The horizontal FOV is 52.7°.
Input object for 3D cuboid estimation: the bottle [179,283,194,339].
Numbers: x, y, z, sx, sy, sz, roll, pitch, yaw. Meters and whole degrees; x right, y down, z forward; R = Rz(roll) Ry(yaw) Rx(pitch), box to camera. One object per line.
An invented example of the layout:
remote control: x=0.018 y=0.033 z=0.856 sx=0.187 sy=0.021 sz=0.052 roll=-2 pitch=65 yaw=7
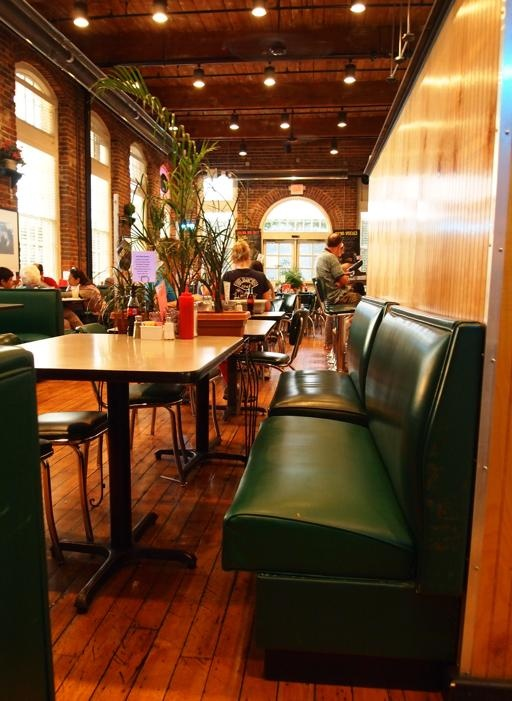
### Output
bottle: x=-0.307 y=-0.168 z=2.297 sx=0.071 sy=0.231 sz=0.072 roll=1 pitch=7 yaw=0

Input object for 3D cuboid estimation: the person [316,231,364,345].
person: x=0.928 y=-0.653 z=6.157 sx=0.502 sy=1.369 sz=0.692 roll=5 pitch=0 yaw=36

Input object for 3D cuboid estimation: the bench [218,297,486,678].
bench: x=0.238 y=0.226 z=1.620 sx=0.529 sy=0.788 sz=1.210 roll=-1 pitch=12 yaw=6
